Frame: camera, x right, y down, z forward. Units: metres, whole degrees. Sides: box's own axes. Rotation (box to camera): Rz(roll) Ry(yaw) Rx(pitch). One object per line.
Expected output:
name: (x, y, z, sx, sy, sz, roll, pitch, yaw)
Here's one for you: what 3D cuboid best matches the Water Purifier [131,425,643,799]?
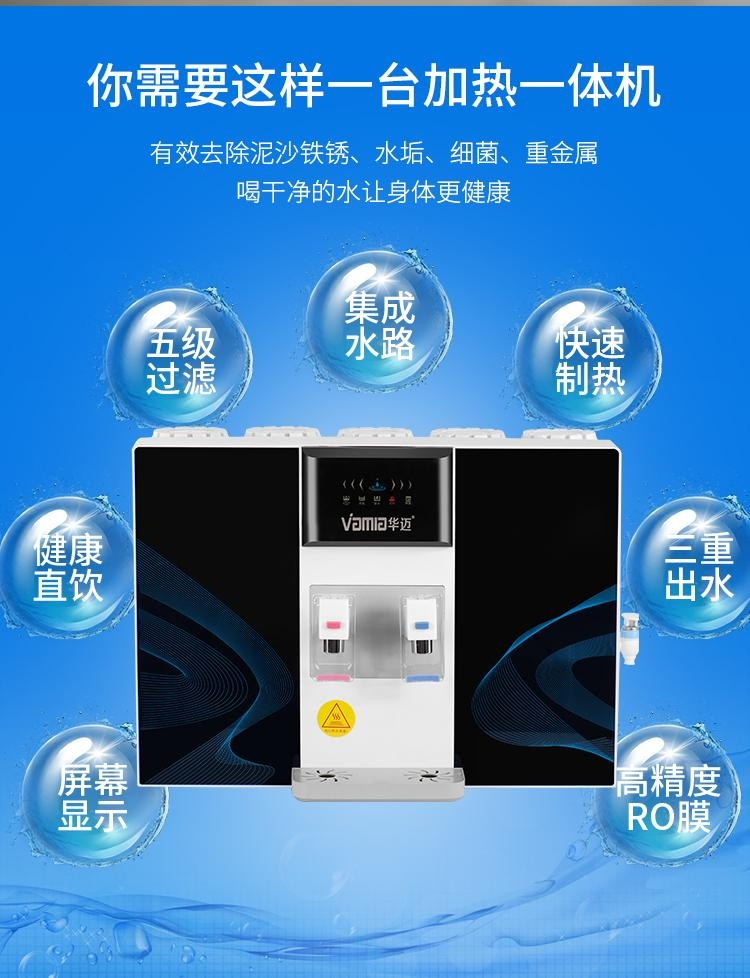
Water Purifier: (0.020, 0.256, 2.118, 0.996, 0.672, 0.529, 0, 0, 9)
